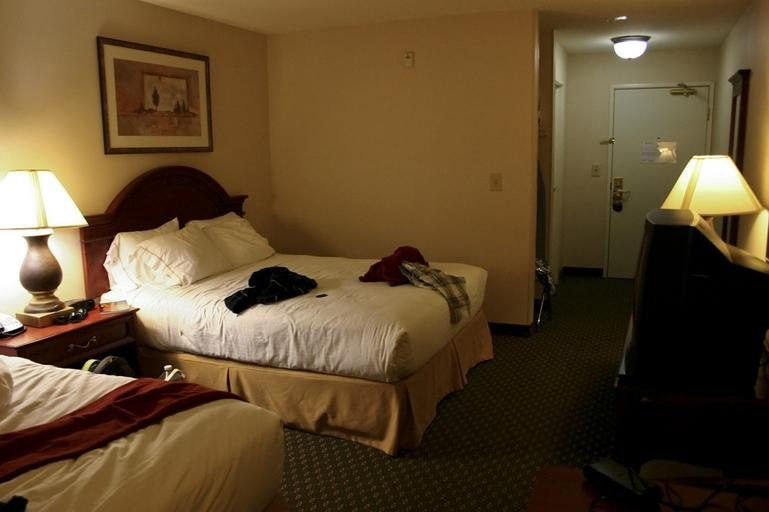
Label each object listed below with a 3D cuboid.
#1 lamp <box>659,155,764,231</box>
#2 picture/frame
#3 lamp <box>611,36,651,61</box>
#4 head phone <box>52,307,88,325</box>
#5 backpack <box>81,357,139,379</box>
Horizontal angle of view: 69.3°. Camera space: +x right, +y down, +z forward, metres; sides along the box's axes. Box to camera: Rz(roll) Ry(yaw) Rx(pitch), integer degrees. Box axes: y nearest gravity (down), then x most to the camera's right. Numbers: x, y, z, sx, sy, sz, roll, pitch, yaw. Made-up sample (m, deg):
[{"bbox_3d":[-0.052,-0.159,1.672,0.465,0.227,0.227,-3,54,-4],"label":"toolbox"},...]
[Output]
[{"bbox_3d":[2.337,-0.526,4.062,0.754,0.596,0.787,1,16,21],"label":"lamp"},{"bbox_3d":[-2.012,-1.388,4.775,0.035,0.887,1.058,3,10,31],"label":"picture/frame"},{"bbox_3d":[2.638,-2.236,5.989,0.283,0.191,0.280,-22,27,-40],"label":"lamp"},{"bbox_3d":[-2.186,0.417,3.879,0.132,0.050,0.094,-8,12,-37],"label":"head phone"},{"bbox_3d":[-1.889,0.743,3.761,0.263,0.113,0.201,-3,-3,19],"label":"backpack"}]
